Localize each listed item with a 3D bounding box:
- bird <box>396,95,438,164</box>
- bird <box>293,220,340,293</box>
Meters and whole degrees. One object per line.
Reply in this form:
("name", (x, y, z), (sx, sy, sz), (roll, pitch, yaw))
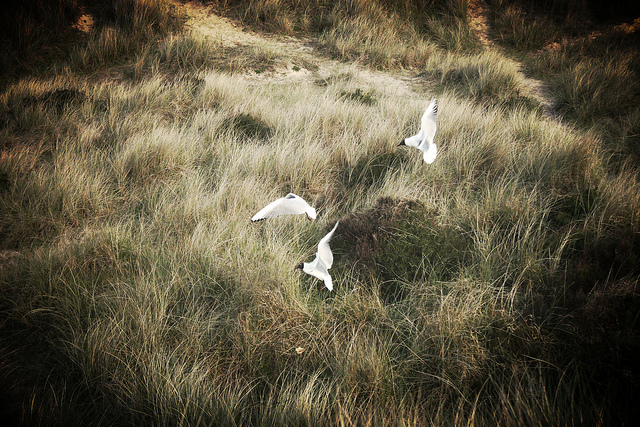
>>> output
("bird", (0.744, -0.636, 5.843), (0.298, 0.745, 0.175), (4, 23, 5))
("bird", (0.008, 0.363, 5.536), (0.328, 0.517, 0.371), (10, 45, -1))
